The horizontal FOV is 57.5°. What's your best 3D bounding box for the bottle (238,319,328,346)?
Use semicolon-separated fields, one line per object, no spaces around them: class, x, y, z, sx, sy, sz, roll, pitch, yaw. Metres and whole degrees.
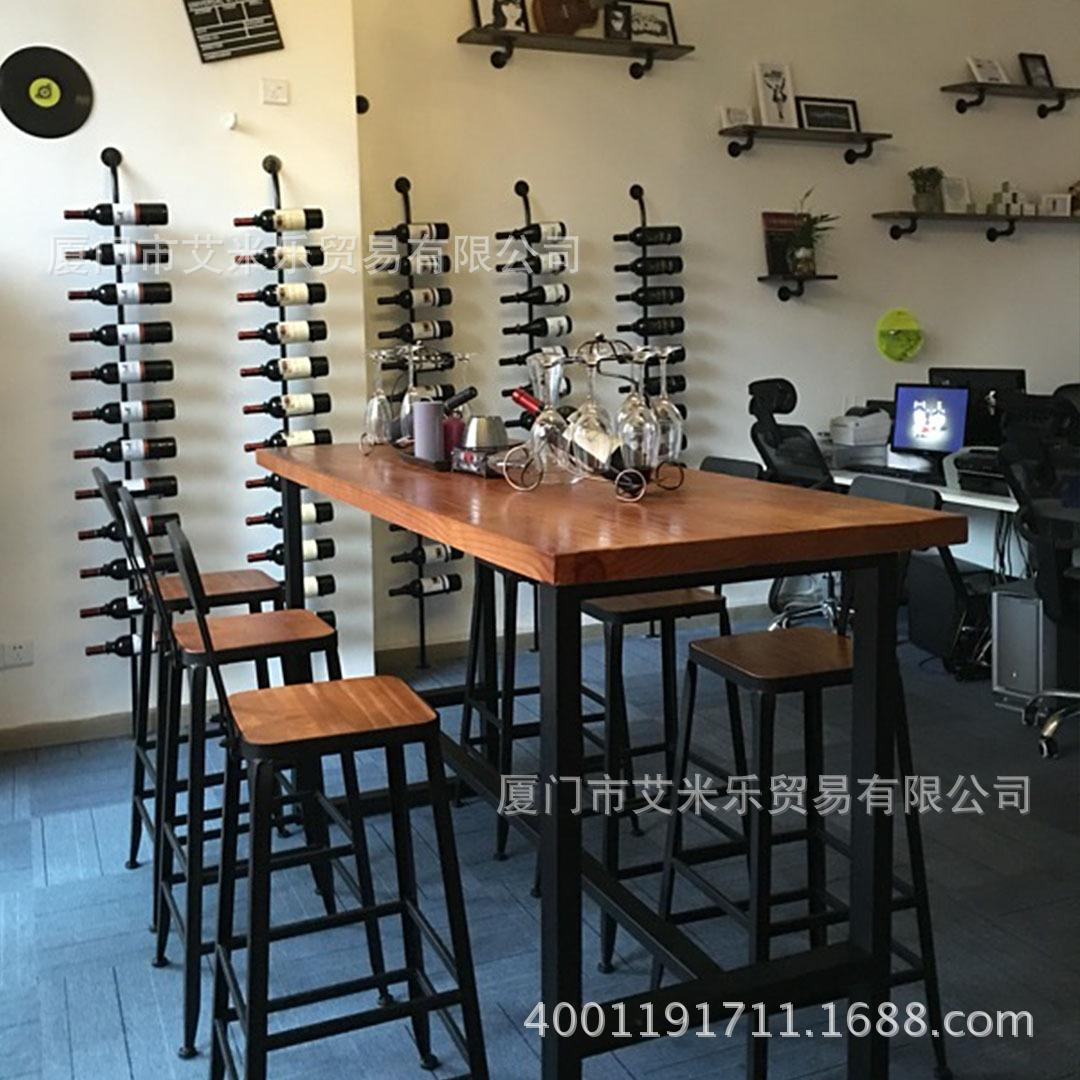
bottle;-1.023;-0.831;3.945;0.389;0.094;0.170;-10;12;-31

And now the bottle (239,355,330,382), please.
bottle;-1.049;-0.688;3.945;0.427;0.111;0.121;-5;12;-16

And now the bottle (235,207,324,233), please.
bottle;-0.987;-1.238;3.825;0.413;0.109;0.117;-4;19;-5

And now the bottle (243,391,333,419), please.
bottle;-1.042;-0.536;3.960;0.405;0.112;0.119;-3;6;-13

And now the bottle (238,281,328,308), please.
bottle;-1.025;-0.974;3.937;0.360;0.093;0.240;-6;11;-14

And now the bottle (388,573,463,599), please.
bottle;-0.496;0.224;4.709;0.420;0.119;0.127;-4;7;-34

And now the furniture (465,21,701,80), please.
furniture;0.217;-2.334;4.754;1.215;0.136;0.214;-7;11;-22

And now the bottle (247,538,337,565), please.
bottle;-0.994;0.045;4.044;0.395;0.103;0.142;-4;4;-11

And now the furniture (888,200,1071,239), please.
furniture;2.623;-1.856;5.836;1.471;0.178;0.170;-7;11;-19

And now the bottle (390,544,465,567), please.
bottle;-0.535;0.067;4.487;0.256;0.078;0.079;-9;51;-24

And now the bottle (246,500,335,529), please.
bottle;-1.005;-0.099;4.022;0.374;0.097;0.135;-4;2;-11

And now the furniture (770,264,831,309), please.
furniture;1.492;-1.406;5.474;0.496;0.163;0.194;-10;13;-34

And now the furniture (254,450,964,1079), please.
furniture;0.116;0.529;2.246;0.561;0.667;1.474;-3;10;-21
